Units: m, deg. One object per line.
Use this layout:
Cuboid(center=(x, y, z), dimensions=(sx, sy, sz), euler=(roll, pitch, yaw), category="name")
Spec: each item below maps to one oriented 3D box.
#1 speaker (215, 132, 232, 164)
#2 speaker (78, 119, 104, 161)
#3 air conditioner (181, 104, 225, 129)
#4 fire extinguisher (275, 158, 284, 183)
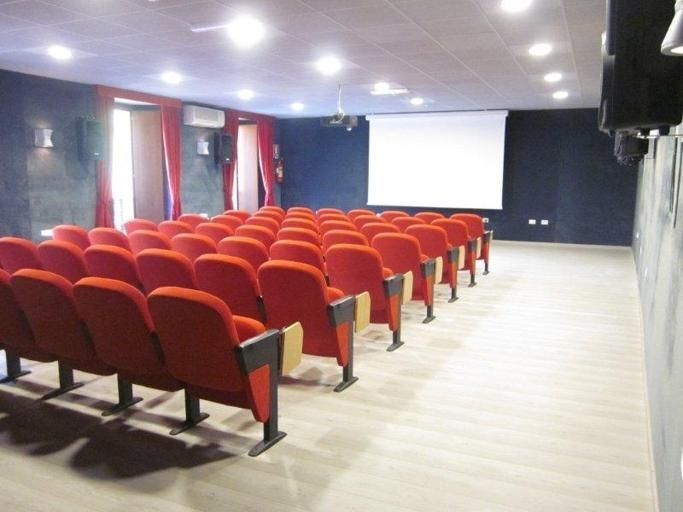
Cuboid(center=(-3.293, -2.977, 12.904), dimensions=(0.493, 0.868, 0.349), euler=(11, 15, 41), category="speaker")
Cuboid(center=(-5.176, -2.381, 9.488), dimensions=(0.474, 0.775, 0.521), euler=(16, 15, 34), category="speaker")
Cuboid(center=(-3.560, -3.600, 11.997), dimensions=(0.931, 0.529, 0.539), euler=(-9, 15, -43), category="air conditioner")
Cuboid(center=(-2.033, -2.774, 15.405), dimensions=(0.159, 0.813, 0.351), euler=(6, 12, 21), category="fire extinguisher")
